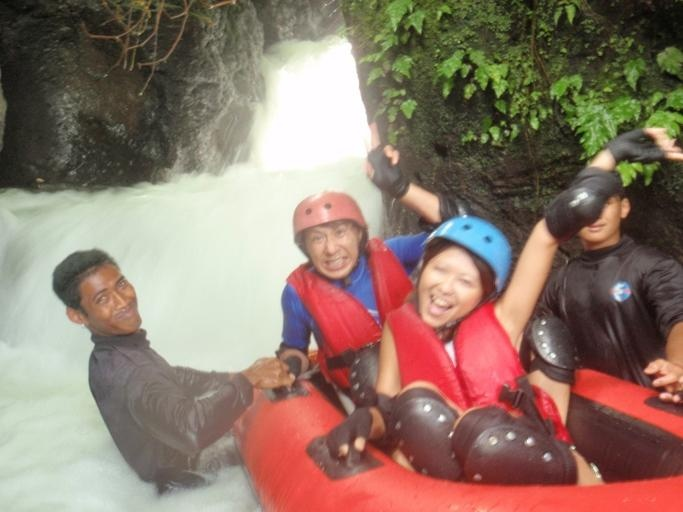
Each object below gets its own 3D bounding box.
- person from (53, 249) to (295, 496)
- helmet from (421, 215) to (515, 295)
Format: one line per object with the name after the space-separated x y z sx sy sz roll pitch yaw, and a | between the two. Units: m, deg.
-1.190 0.851 3.711 0.728 1.730 0.642 -25 32 -14 | person
0.759 0.023 3.213 0.333 0.498 0.385 23 21 12 | helmet
